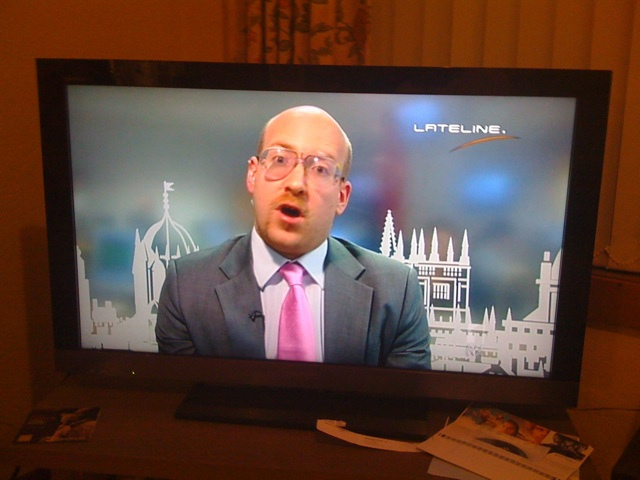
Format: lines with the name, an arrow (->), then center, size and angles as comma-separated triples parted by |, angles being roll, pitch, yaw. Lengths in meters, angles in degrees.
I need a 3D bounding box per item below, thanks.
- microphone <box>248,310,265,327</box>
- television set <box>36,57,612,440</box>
microphone -> -0.210, 0.256, 1.990 | 0.047, 0.049, 0.016 | 5, 7, 4
television set -> 0.011, 0.017, 1.967 | 1.166, 0.843, 0.319 | 2, 5, 5
